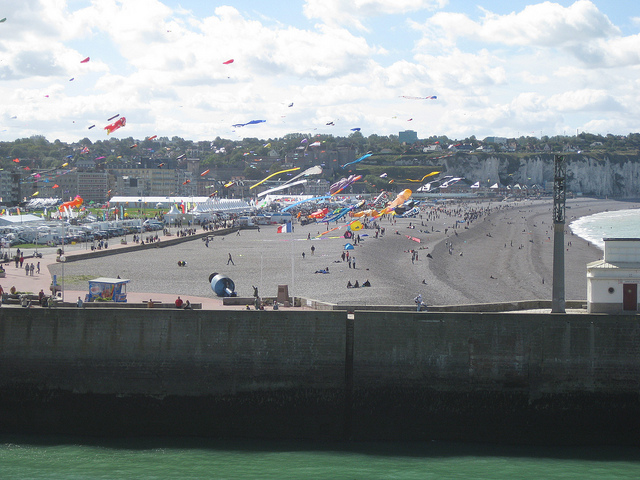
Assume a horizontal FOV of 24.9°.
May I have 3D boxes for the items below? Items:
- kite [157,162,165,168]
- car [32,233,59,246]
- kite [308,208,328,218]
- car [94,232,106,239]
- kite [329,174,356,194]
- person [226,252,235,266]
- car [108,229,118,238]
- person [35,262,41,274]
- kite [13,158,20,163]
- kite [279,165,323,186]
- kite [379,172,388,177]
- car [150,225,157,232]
[{"bbox_3d":[-33.804,-16.385,309.290,1.073,1.261,4.084,3,-2,-24],"label":"kite"},{"bbox_3d":[-26.613,-0.197,141.047,1.752,0.883,1.275,2,-1,-4],"label":"car"},{"bbox_3d":[0.222,-3.666,195.475,2.164,0.885,1.380,-10,8,-43],"label":"kite"},{"bbox_3d":[-22.670,-0.619,150.461,0.966,0.714,1.665,-1,-4,-6],"label":"car"},{"bbox_3d":[4.486,-12.055,304.319,2.421,2.826,7.541,16,23,33],"label":"kite"},{"bbox_3d":[-7.856,1.486,126.449,0.886,1.330,0.740,10,13,27],"label":"person"},{"bbox_3d":[-21.817,-0.872,153.412,0.802,0.953,2.129,-1,-4,-2],"label":"car"},{"bbox_3d":[-22.003,2.087,113.394,0.420,1.017,0.423,-20,33,-35],"label":"person"},{"bbox_3d":[-70.940,-18.894,339.315,1.603,0.444,1.636,2,-40,4],"label":"kite"},{"bbox_3d":[-4.201,-14.623,326.620,7.687,4.100,1.169,-29,11,28],"label":"kite"},{"bbox_3d":[14.016,-14.693,324.305,1.405,0.528,1.277,-8,12,-43],"label":"kite"},{"bbox_3d":[-19.163,-1.591,167.104,0.776,0.769,2.403,-1,-4,-6],"label":"car"}]
